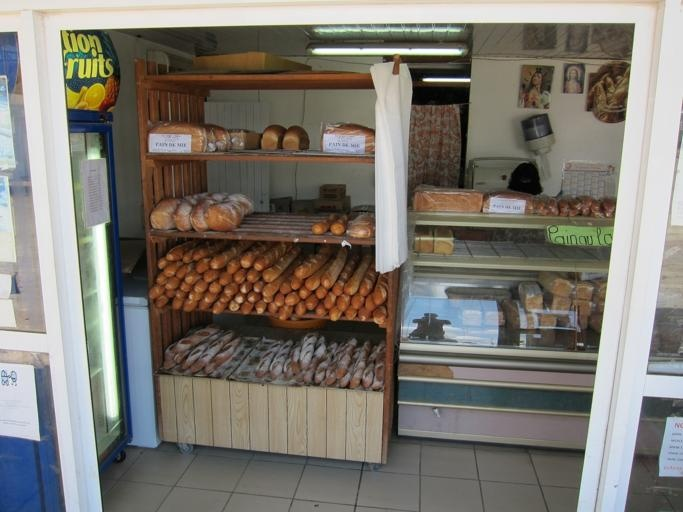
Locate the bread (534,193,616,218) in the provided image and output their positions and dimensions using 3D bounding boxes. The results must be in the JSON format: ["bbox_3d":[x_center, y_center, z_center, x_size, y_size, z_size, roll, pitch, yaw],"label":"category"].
[{"bbox_3d":[1.484,-0.321,3.462,0.516,0.106,0.282,3,16,16],"label":"bread"}]

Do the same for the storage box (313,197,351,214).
[{"bbox_3d":[-0.149,-0.730,7.677,0.423,0.110,0.438,1,21,6],"label":"storage box"}]

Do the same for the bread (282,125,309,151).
[{"bbox_3d":[-0.327,-0.818,3.781,0.213,0.160,0.208,-8,19,-29],"label":"bread"}]

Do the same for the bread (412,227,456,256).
[{"bbox_3d":[0.623,-0.100,3.619,0.283,0.126,0.190,2,15,8],"label":"bread"}]

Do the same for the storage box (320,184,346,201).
[{"bbox_3d":[-0.140,-0.926,7.701,0.272,0.124,0.355,2,14,7],"label":"storage box"}]

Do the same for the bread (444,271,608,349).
[{"bbox_3d":[1.274,0.333,3.697,0.882,0.395,0.489,2,17,8],"label":"bread"}]

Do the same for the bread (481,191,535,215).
[{"bbox_3d":[1.079,-0.343,3.479,0.312,0.130,0.155,2,16,15],"label":"bread"}]

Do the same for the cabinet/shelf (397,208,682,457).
[{"bbox_3d":[1.119,0.376,3.133,1.765,1.444,0.595,2,9,7],"label":"cabinet/shelf"}]

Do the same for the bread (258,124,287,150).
[{"bbox_3d":[-0.484,-0.832,3.795,0.163,0.144,0.204,2,10,6],"label":"bread"}]

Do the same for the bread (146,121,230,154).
[{"bbox_3d":[-1.017,-0.767,3.503,0.299,0.132,0.303,2,14,0],"label":"bread"}]

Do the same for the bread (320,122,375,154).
[{"bbox_3d":[0.046,-0.723,3.308,0.322,0.167,0.137,2,5,15],"label":"bread"}]

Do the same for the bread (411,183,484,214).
[{"bbox_3d":[0.708,-0.371,3.553,0.454,0.142,0.170,2,16,12],"label":"bread"}]

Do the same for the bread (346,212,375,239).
[{"bbox_3d":[0.126,-0.197,3.511,0.141,0.057,0.297,1,17,8],"label":"bread"}]
